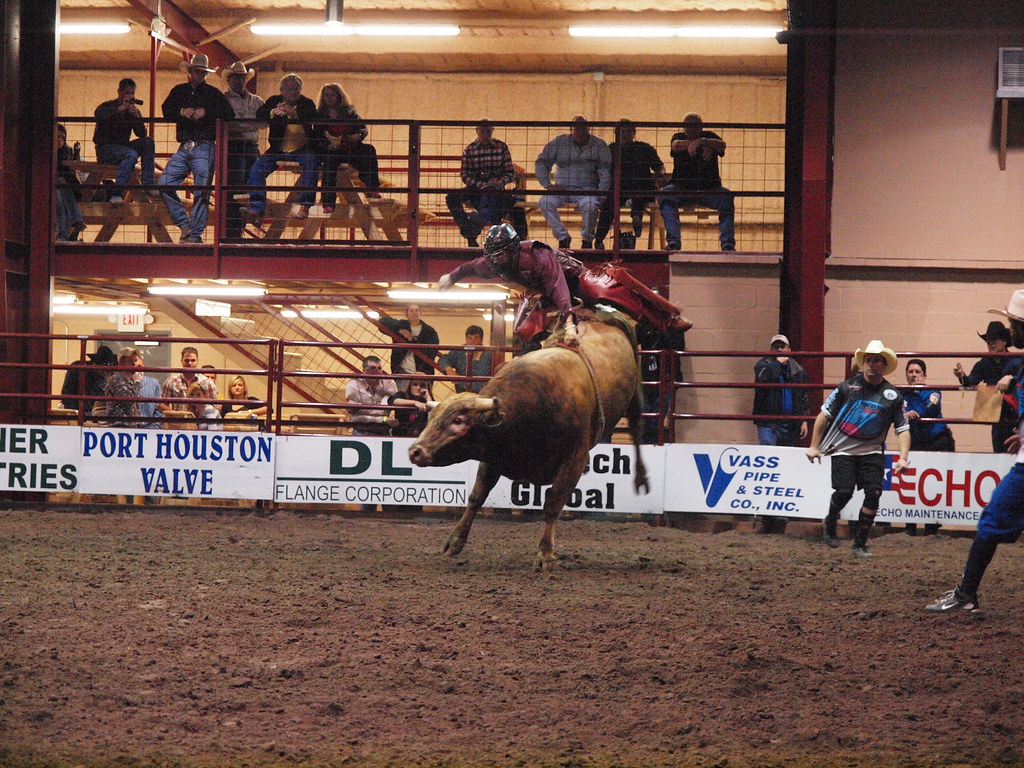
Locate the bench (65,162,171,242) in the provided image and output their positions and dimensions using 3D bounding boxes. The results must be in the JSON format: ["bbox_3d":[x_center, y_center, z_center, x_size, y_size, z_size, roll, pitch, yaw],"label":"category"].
[{"bbox_3d":[-6.413,-2.957,32.088,1.534,1.381,1.553,3,4,41],"label":"bench"}]

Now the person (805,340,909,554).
[{"bbox_3d":[4.660,0.780,26.620,1.207,1.865,1.223,4,2,10],"label":"person"}]

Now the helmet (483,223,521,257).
[{"bbox_3d":[-0.109,-1.863,25.026,0.454,0.335,0.349,8,-13,-32],"label":"helmet"}]

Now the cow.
[{"bbox_3d":[0.290,0.572,24.491,1.061,3.244,3.654,5,3,41],"label":"cow"}]

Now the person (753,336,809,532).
[{"bbox_3d":[3.813,0.646,28.626,0.770,2.774,1.353,4,2,7],"label":"person"}]

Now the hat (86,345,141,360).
[{"bbox_3d":[-6.074,-0.487,30.582,0.520,0.176,0.456,-5,-5,35],"label":"hat"}]

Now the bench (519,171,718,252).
[{"bbox_3d":[1.920,-2.914,30.832,2.638,1.249,0.732,1,-6,-8],"label":"bench"}]

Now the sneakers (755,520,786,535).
[{"bbox_3d":[3.701,1.991,28.224,0.568,0.270,0.163,9,-13,-36],"label":"sneakers"}]

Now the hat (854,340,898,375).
[{"bbox_3d":[4.952,-0.472,26.767,0.507,0.246,0.644,4,-33,19],"label":"hat"}]

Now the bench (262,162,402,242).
[{"bbox_3d":[-2.728,-2.903,31.630,1.862,1.143,1.404,0,5,-1],"label":"bench"}]

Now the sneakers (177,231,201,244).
[{"bbox_3d":[-5.042,-2.369,31.372,0.152,0.145,0.382,-3,-4,-30],"label":"sneakers"}]
